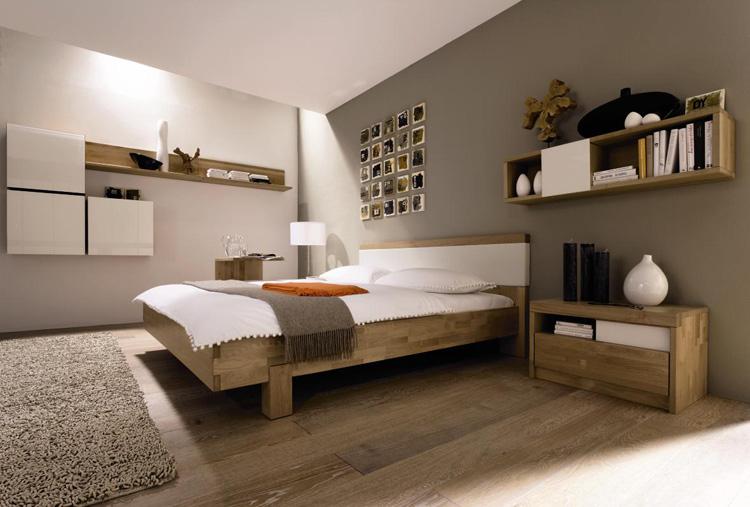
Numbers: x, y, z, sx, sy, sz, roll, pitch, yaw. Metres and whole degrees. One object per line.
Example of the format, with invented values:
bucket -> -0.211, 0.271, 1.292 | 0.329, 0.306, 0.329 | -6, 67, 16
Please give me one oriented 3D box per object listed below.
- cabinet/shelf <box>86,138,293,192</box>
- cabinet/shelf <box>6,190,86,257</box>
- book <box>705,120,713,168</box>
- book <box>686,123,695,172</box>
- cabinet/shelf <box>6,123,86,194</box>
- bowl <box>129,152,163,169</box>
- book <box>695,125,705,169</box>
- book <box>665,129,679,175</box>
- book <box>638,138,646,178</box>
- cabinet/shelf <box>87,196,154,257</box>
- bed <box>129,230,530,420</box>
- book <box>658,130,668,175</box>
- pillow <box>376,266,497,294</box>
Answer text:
cabinet/shelf -> -2.425, -1.135, 6.462 | 2.424, 0.544, 0.297 | -4, 3, -38
cabinet/shelf -> -3.705, -0.352, 5.451 | 0.758, 0.692, 0.247 | 1, 0, -33
book -> 2.371, -0.775, 3.484 | 0.050, 0.319, 0.024 | -1, 4, 29
book -> 2.277, -0.766, 3.537 | 0.048, 0.326, 0.025 | -1, 4, 29
cabinet/shelf -> -3.687, -1.029, 5.441 | 0.849, 0.785, 0.270 | 1, 3, -30
bowl -> -2.841, -1.137, 6.085 | 0.369, 0.225, 0.193 | -4, 3, -25
book -> 2.329, -0.763, 3.516 | 0.055, 0.239, 0.234 | 2, 1, 22
book -> 2.180, -0.743, 3.600 | 0.060, 0.256, 0.256 | 9, 9, 32
book -> 2.023, -0.723, 3.710 | 0.058, 0.290, 0.029 | 0, 4, 40
cabinet/shelf -> -3.075, -0.326, 5.841 | 0.742, 0.701, 0.239 | 0, 3, -42
bed -> -0.173, 0.530, 4.153 | 2.157, 0.845, 2.009 | 0, -1, -31
book -> 2.130, -0.756, 3.629 | 0.057, 0.248, 0.247 | 6, 10, 25
pillow -> 0.458, 0.250, 4.459 | 0.652, 0.159, 0.409 | 1, -2, 39
